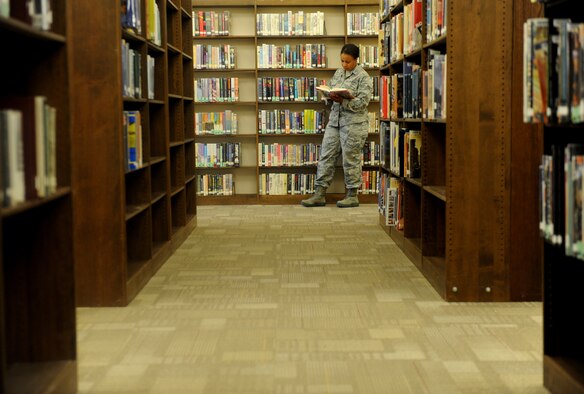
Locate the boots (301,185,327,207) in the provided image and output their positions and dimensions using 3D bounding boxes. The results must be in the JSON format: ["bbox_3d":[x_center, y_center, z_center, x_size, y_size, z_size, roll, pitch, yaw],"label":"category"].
[{"bbox_3d":[0.340,0.008,6.938,0.408,0.431,0.199,2,1,-2],"label":"boots"}]

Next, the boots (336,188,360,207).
[{"bbox_3d":[0.814,0.030,6.881,0.355,0.379,0.174,1,2,-3],"label":"boots"}]
